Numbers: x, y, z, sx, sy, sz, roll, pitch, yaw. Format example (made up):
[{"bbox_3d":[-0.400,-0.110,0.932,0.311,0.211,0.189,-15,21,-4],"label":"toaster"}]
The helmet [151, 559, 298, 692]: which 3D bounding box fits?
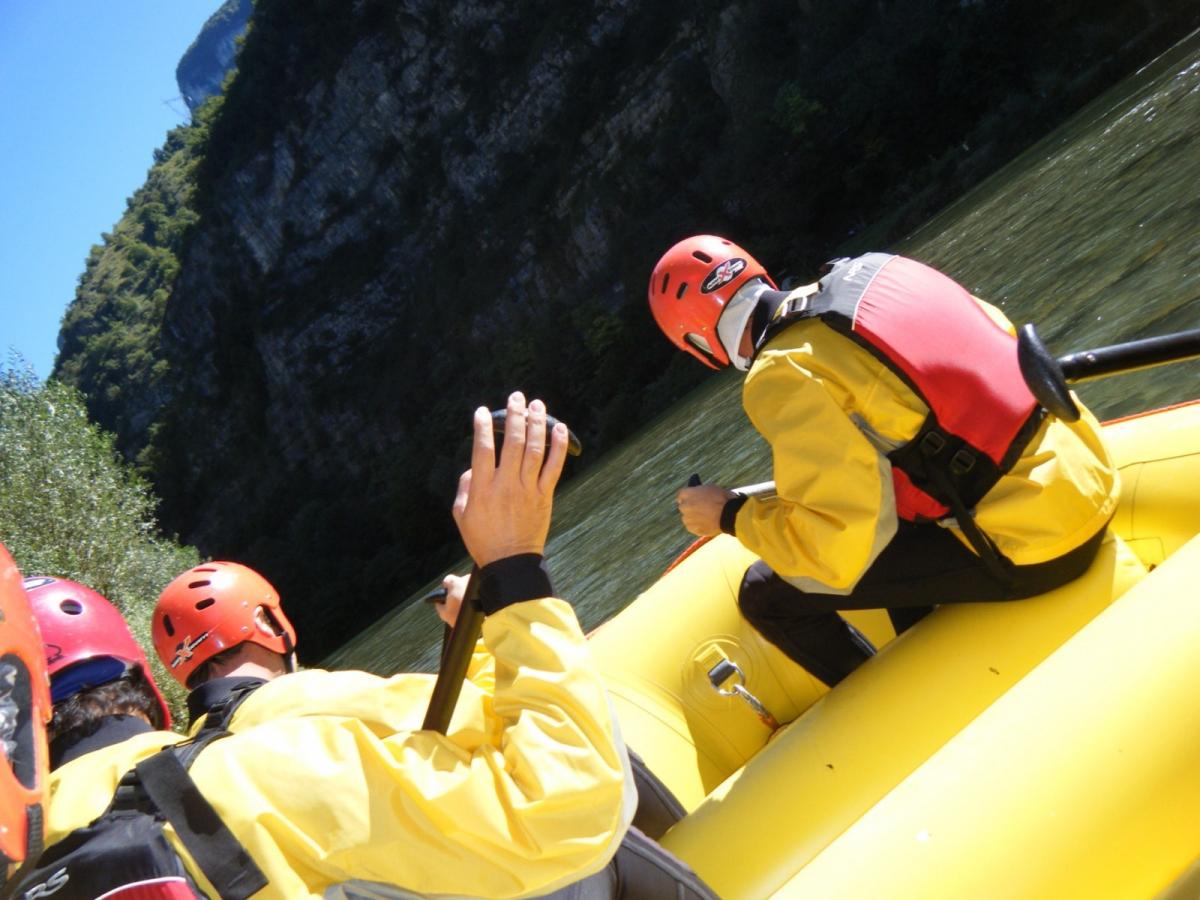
[{"bbox_3d":[-1.092,0.466,3.088,0.384,0.389,0.295,-24,6,-33],"label":"helmet"}]
